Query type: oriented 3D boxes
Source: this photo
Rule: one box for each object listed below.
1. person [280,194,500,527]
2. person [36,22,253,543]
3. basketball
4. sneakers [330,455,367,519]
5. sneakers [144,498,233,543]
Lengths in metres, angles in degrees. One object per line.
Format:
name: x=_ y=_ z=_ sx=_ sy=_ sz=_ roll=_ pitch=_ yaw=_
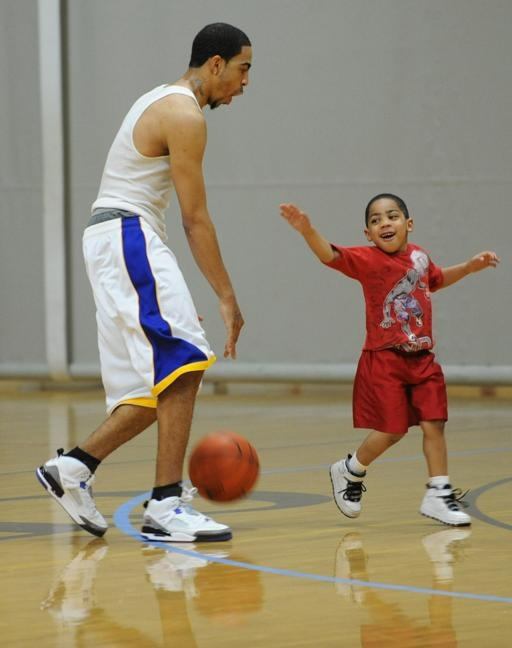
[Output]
person: x=0.361 y=0.063 z=2.115 sx=0.470 sy=0.762 sz=0.516 roll=-1 pitch=0 yaw=16
person: x=-0.270 y=-0.126 z=1.762 sx=0.491 sy=0.845 sz=0.297 roll=-1 pitch=0 yaw=8
basketball: x=-0.069 y=0.318 z=1.756 sx=0.184 sy=0.142 sz=0.158 roll=0 pitch=8 yaw=-4
sneakers: x=0.232 y=0.429 z=1.990 sx=0.073 sy=0.160 sz=0.080 roll=17 pitch=-47 yaw=-44
sneakers: x=-0.159 y=0.438 z=1.698 sx=0.233 sy=0.088 sz=0.080 roll=2 pitch=-7 yaw=-2
